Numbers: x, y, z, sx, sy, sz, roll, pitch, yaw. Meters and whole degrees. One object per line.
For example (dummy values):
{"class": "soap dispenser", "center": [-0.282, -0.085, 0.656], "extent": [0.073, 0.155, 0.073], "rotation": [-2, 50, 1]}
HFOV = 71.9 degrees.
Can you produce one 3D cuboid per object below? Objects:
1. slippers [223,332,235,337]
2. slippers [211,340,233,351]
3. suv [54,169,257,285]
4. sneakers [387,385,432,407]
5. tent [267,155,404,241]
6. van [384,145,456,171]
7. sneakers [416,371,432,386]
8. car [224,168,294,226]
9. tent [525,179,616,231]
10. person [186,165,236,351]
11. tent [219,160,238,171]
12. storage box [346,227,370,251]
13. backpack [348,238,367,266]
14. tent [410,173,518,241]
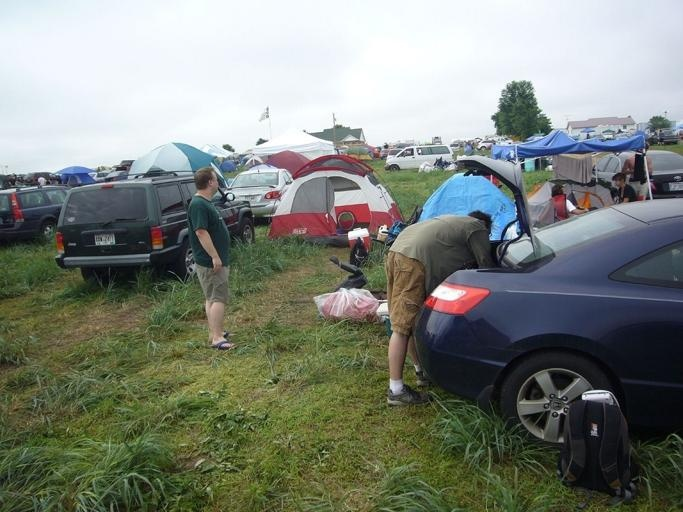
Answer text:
{"class": "slippers", "center": [-1.430, 0.972, 5.890], "extent": [0.080, 0.040, 0.123], "rotation": [7, 14, 42]}
{"class": "slippers", "center": [-1.410, 1.033, 5.554], "extent": [0.227, 0.061, 0.105], "rotation": [0, 7, 37]}
{"class": "suv", "center": [-3.232, -0.676, 8.717], "extent": [1.746, 1.345, 3.044], "rotation": [0, 16, 19]}
{"class": "sneakers", "center": [0.590, 1.247, 4.265], "extent": [0.434, 0.181, 0.160], "rotation": [-1, -2, -3]}
{"class": "tent", "center": [-0.030, -1.498, 12.088], "extent": [2.486, 1.609, 2.380], "rotation": [1, 11, 8]}
{"class": "van", "center": [5.612, -7.215, 34.471], "extent": [3.897, 1.603, 2.239], "rotation": [0, 11, 4]}
{"class": "sneakers", "center": [0.764, 1.156, 4.516], "extent": [0.095, 0.109, 0.261], "rotation": [2, 5, 40]}
{"class": "car", "center": [-2.430, -2.121, 15.431], "extent": [1.319, 1.218, 2.981], "rotation": [-2, 22, 13]}
{"class": "tent", "center": [4.071, -0.936, 8.307], "extent": [1.138, 0.428, 1.136], "rotation": [-22, 24, 12]}
{"class": "person", "center": [-1.557, 0.010, 5.651], "extent": [0.467, 2.079, 0.837], "rotation": [-7, 15, -17]}
{"class": "tent", "center": [-8.714, -6.781, 35.924], "extent": [1.311, 0.623, 2.055], "rotation": [-7, 20, -17]}
{"class": "storage box", "center": [0.315, -0.363, 9.271], "extent": [0.407, 0.392, 0.410], "rotation": [0, 16, 9]}
{"class": "backpack", "center": [0.319, -0.081, 8.956], "extent": [0.529, 0.590, 0.326], "rotation": [-1, 0, -22]}
{"class": "tent", "center": [2.509, -1.075, 9.187], "extent": [1.675, 0.766, 1.677], "rotation": [3, 23, 7]}
